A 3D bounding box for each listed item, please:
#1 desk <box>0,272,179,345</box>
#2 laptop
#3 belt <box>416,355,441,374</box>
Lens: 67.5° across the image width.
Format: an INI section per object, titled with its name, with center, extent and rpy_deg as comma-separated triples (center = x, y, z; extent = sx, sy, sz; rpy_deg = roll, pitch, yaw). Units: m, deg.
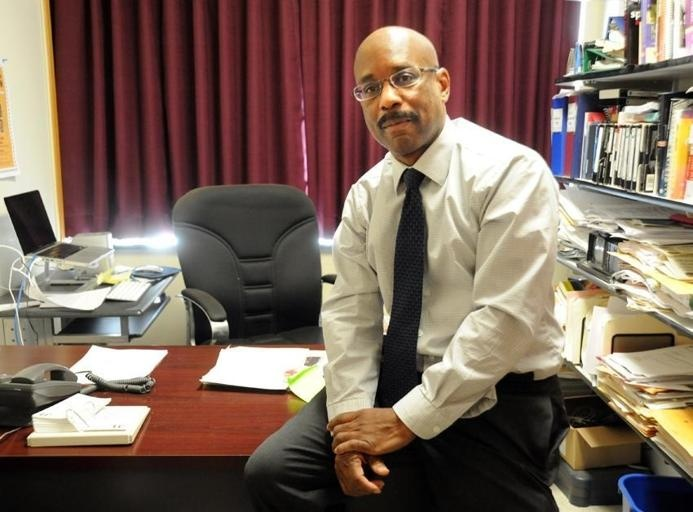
[desk]
center = -1.307, 0.303, 2.631
extent = 0.732, 0.240, 0.451
rpy_deg = -3, 15, 1
[laptop]
center = -1.466, -0.154, 2.683
extent = 0.507, 0.358, 0.332
rpy_deg = 6, 16, 6
[belt]
center = 0.257, 0.337, 1.635
extent = 0.066, 0.057, 0.048
rpy_deg = -4, 13, -3
